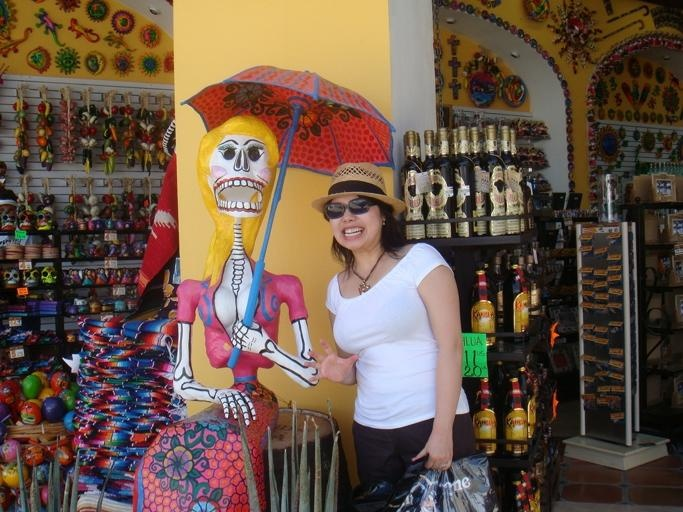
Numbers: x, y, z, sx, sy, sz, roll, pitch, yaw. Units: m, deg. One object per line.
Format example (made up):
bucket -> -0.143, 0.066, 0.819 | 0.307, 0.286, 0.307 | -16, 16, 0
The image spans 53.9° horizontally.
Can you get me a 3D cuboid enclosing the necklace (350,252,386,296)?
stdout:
necklace -> 0.131, 0.087, 3.117 | 0.162, 0.196, 0.021 | -18, -36, 39
